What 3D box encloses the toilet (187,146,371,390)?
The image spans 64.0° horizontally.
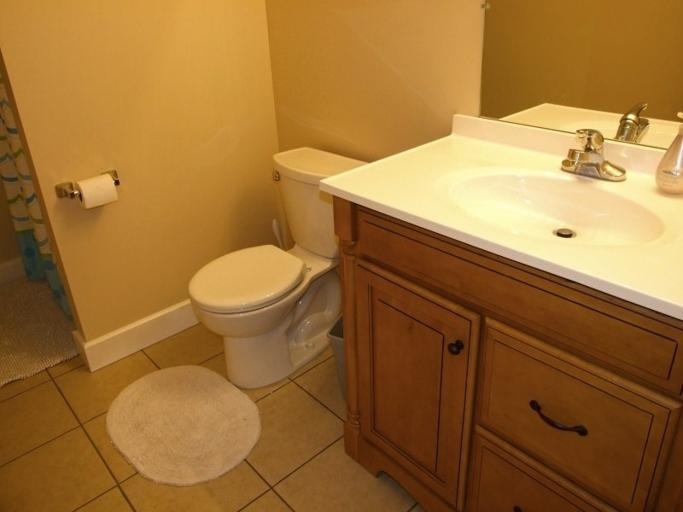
[{"bbox_3d":[-0.264,0.069,2.248,0.488,0.875,0.789,24,37,31],"label":"toilet"}]

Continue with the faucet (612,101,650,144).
[{"bbox_3d":[0.858,-0.406,1.631,0.041,0.072,0.142,31,76,30],"label":"faucet"}]

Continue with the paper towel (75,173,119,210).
[{"bbox_3d":[-0.968,-0.262,2.187,0.123,0.129,0.165,34,43,28],"label":"paper towel"}]

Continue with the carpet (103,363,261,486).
[{"bbox_3d":[-0.639,0.671,2.155,0.652,0.027,0.472,6,34,14],"label":"carpet"}]
